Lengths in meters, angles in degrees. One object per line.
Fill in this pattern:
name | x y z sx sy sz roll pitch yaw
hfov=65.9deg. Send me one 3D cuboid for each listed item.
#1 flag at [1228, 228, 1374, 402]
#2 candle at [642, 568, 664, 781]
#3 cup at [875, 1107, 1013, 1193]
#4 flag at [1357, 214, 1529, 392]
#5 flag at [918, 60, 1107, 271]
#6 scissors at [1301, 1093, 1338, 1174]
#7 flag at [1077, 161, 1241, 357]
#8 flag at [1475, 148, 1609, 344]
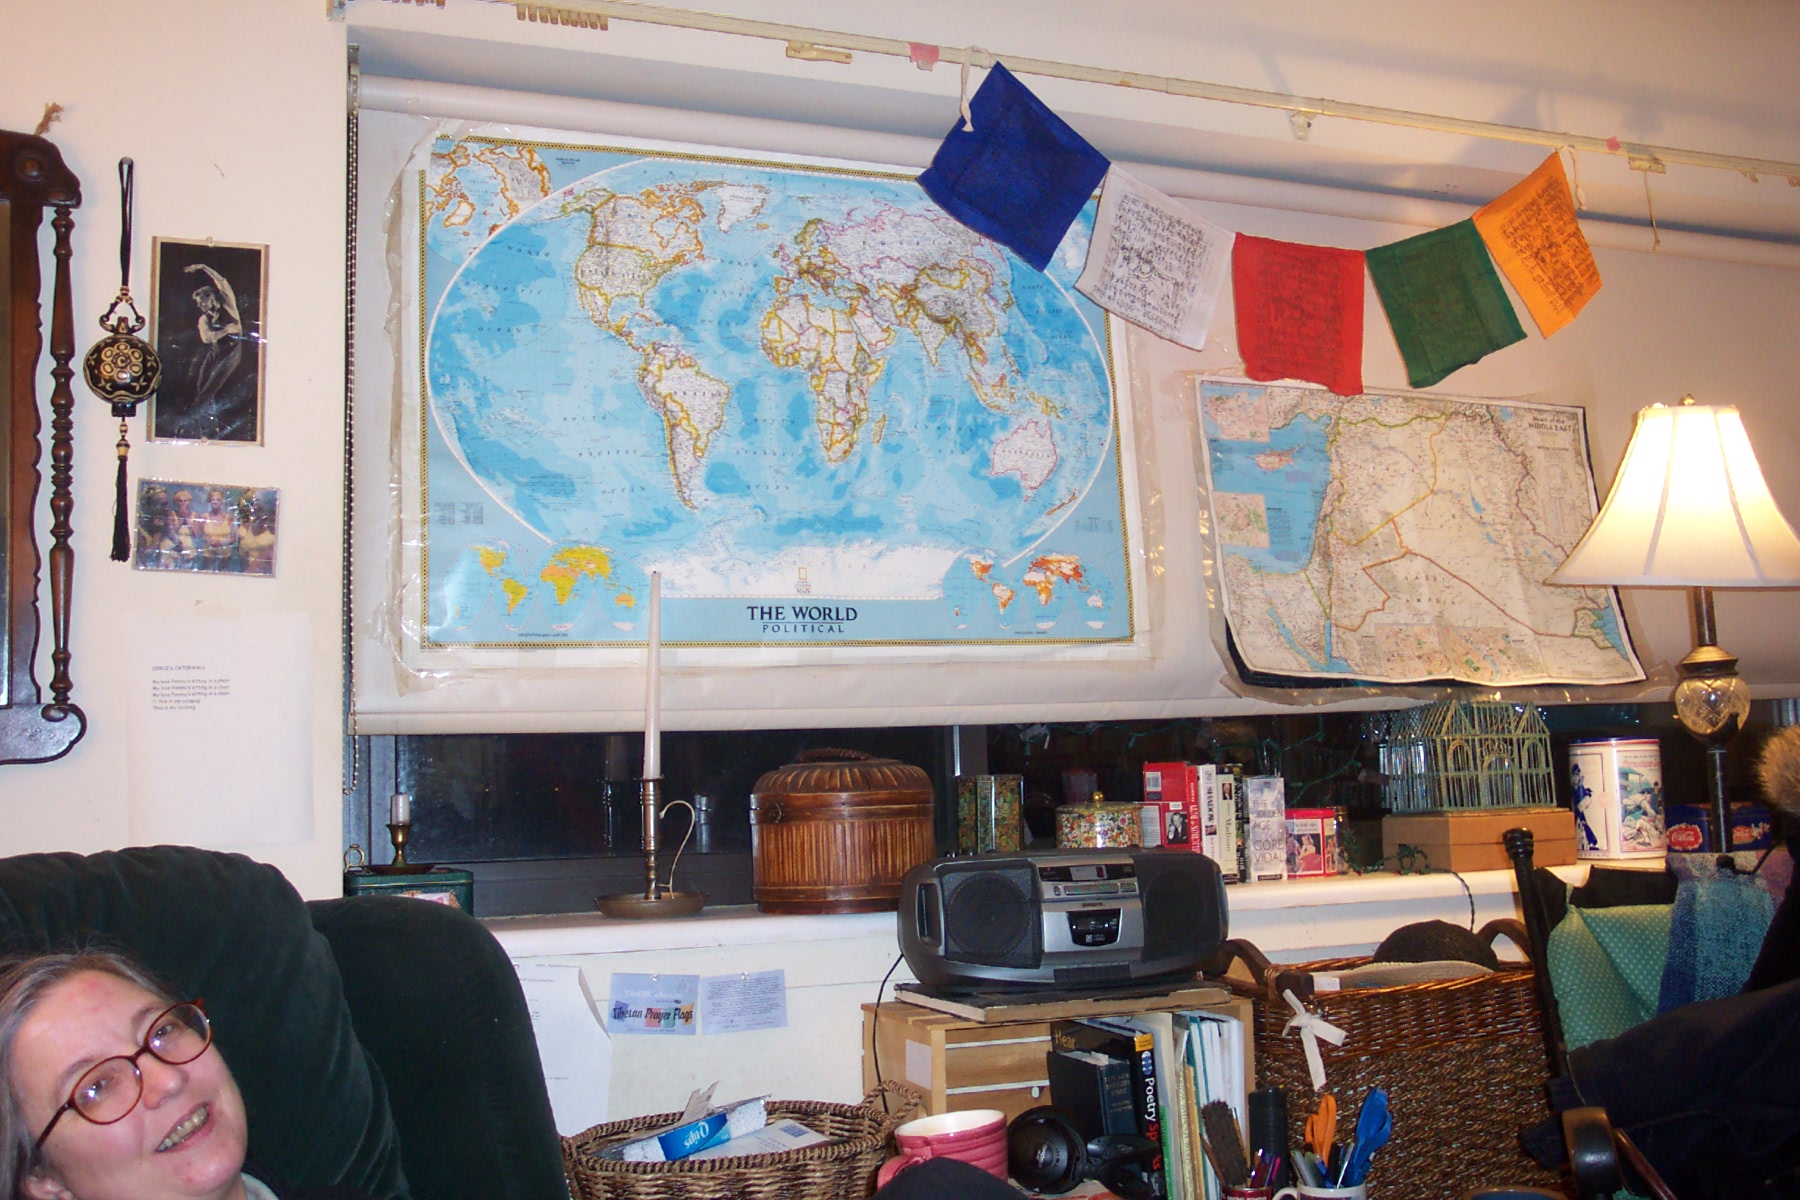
flag | 0.988 -0.700 3.458 0.421 0.416 0.046 5 -7 -25
candle | -0.520 0.152 2.914 0.058 0.442 0.148 -4 -7 -9
cup | 0.083 0.965 2.503 0.218 0.078 0.135 -1 -11 -26
flag | 1.400 -0.741 3.557 0.380 0.417 0.103 -26 10 -1
flag | 0.268 -0.970 3.162 0.374 0.374 0.113 34 15 -17
scissors | 0.802 1.012 2.632 0.040 0.032 0.156 -19 -7 6
flag | 0.612 -0.811 3.357 0.401 0.333 0.039 12 4 -33
flag | 1.640 -0.910 3.562 0.384 0.377 0.038 44 0 -29
